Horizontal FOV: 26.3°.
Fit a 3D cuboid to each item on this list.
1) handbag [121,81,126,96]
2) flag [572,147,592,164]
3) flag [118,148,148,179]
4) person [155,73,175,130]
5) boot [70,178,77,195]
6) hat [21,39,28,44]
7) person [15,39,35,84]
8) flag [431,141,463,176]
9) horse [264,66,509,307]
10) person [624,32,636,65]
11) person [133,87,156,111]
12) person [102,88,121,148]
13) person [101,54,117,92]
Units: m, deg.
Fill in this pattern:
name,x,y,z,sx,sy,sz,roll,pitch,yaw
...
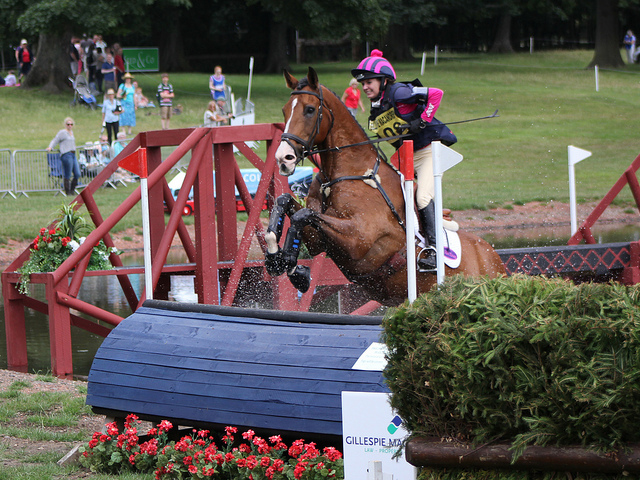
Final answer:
name,x,y,z,sx,sy,sz,roll,pitch,yaw
handbag,-5.486,-4.130,38.118,0.100,0.213,0.363,-2,9,-10
flag,5.092,-1.670,26.681,0.316,0.294,0.791,2,9,13
flag,-3.055,-1.256,22.259,0.540,0.489,0.291,3,9,18
person,-4.450,-3.887,38.892,0.530,1.660,0.533,-2,3,18
boot,-6.289,-1.365,34.770,0.132,0.432,0.223,-5,9,-29
hat,-10.752,-7.159,49.487,0.213,0.161,0.352,1,13,-6
person,-11.270,-6.726,52.085,0.635,1.861,0.558,-13,36,-33
flag,1.948,-1.248,20.876,0.486,0.697,0.111,-1,43,6
horse,0.310,-0.785,21.785,2.169,3.888,1.155,0,8,0
person,11.687,-7.206,51.591,0.433,1.201,1.826,2,9,13
person,-5.671,-4.428,42.938,0.441,0.571,1.310,-1,0,23
person,-5.644,-3.348,37.029,0.456,1.429,1.564,-1,9,-9
person,-6.564,-5.172,42.266,0.447,1.088,1.324,-1,9,-8
